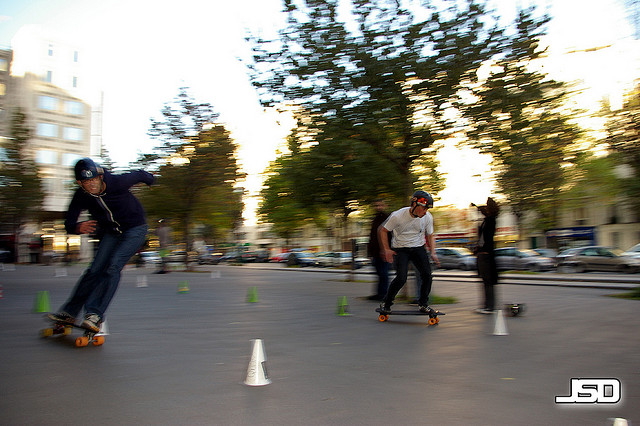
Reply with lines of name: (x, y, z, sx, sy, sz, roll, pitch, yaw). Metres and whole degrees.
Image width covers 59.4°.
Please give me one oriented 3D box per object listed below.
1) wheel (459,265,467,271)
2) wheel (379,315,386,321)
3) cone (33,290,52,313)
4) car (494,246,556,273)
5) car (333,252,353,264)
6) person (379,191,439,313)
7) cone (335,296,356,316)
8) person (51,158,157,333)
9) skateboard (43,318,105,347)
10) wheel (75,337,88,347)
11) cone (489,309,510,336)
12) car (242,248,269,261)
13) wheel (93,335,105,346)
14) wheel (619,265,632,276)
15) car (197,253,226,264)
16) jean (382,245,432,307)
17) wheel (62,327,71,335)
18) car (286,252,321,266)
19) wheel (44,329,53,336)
wheel: (9.166, 3.486, 35.781, 0.460, 0.351, 0.937, -1, -5, 7)
wheel: (1.136, 1.910, 10.250, 0.077, 0.106, 0.139, 3, -6, -31)
cone: (-5.586, 1.786, 11.298, 0.345, 0.408, 0.811, 2, -6, -25)
car: (12.282, 2.799, 33.525, 3.172, 1.386, 2.417, -2, -5, 17)
car: (1.804, 3.687, 45.930, 0.867, 0.924, 2.091, 3, -6, -31)
person: (1.576, 0.688, 9.974, 1.002, 2.110, 0.819, -1, -6, 8)
cone: (0.572, 1.904, 11.487, 0.471, 0.334, 0.419, 3, -9, -10)
person: (-3.052, 0.480, 8.032, 1.189, 2.424, 0.993, 2, -6, -20)
skateboard: (-3.589, 1.738, 8.125, 0.975, 0.179, 0.427, 9, -8, 20)
wheel: (-3.313, 1.786, 7.811, 0.087, 0.126, 0.194, -5, -7, 43)
cone: (2.841, 1.726, 8.855, 0.267, 0.362, 0.417, -4, -7, 38)
car: (-6.982, 4.706, 62.739, 2.295, 1.219, 3.846, -2, -5, 18)
wheel: (-3.143, 1.797, 7.943, 0.144, 0.133, 0.187, 2, -5, -17)
wheel: (16.231, 2.974, 29.808, 0.276, 0.431, 0.688, 1, -5, -12)
car: (-12.042, 5.061, 62.713, 1.930, 1.184, 3.856, -1, -5, 16)
jean: (1.569, 1.114, 10.011, 0.817, 1.090, 0.411, 0, -6, 5)
wheel: (-3.859, 1.779, 8.530, 0.113, 0.132, 0.343, 2, -5, -23)
car: (-1.457, 4.018, 49.239, 1.225, 1.161, 4.135, 4, -6, -37)
wheel: (-4.093, 1.791, 8.438, 0.113, 0.105, 0.051, 2, -6, -19)
